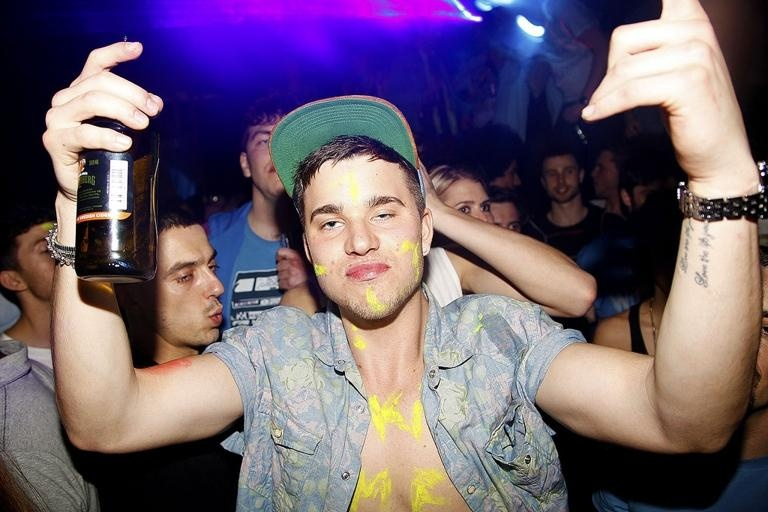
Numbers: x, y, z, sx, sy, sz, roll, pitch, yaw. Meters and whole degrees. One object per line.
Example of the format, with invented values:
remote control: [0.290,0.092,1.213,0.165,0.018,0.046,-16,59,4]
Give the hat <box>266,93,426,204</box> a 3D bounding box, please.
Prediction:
hat: [-0.354,-0.819,4.041,0.918,0.568,1.262,5,6,10]
